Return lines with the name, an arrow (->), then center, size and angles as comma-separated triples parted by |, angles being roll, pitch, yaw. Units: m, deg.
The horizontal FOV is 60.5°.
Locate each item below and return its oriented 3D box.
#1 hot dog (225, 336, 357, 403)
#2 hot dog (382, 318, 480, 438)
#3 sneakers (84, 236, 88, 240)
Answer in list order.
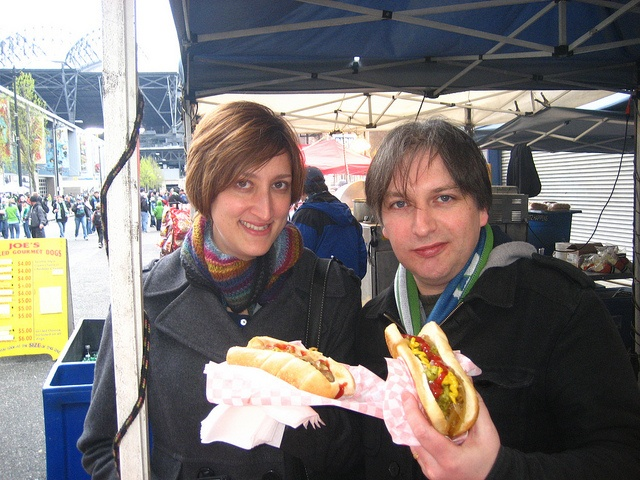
hot dog -> -0.127, 0.594, 2.650 | 0.529, 0.155, 0.279 | 17, 5, 20
hot dog -> 0.526, 0.721, 2.743 | 0.297, 0.176, 0.545 | -7, 51, -29
sneakers -> -10.379, -0.058, 24.413 | 0.178, 0.187, 0.108 | -8, 12, -34
